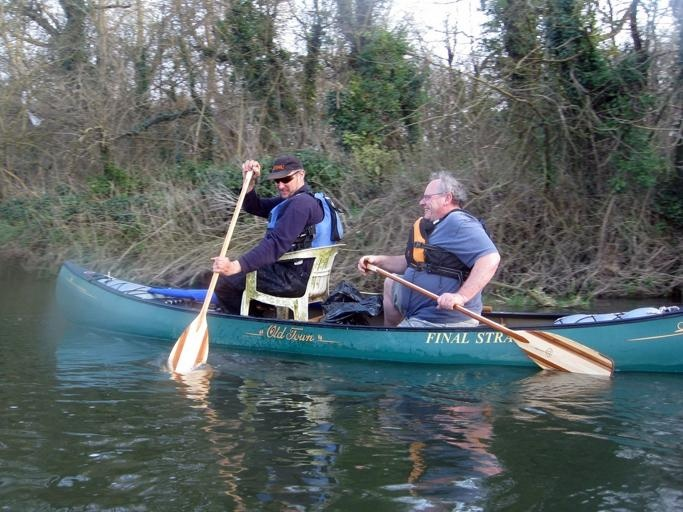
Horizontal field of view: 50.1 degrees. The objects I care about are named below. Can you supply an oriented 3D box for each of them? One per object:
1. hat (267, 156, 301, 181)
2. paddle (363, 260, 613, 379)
[{"bbox_3d":[-0.548,-0.892,7.258,0.307,0.200,0.216,3,1,-4],"label":"hat"},{"bbox_3d":[1.477,0.666,7.377,3.899,0.318,0.157,15,27,6],"label":"paddle"}]
